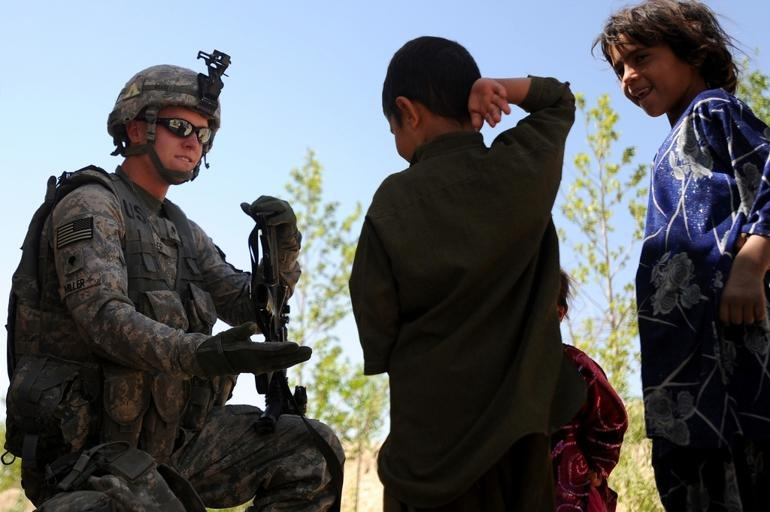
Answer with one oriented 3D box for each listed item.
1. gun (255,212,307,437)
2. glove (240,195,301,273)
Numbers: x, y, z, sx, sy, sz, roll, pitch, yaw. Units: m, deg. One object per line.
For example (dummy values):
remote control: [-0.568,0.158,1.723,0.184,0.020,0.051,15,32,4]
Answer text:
gun: [-0.701,0.463,7.081,0.233,1.481,0.544,9,-27,-30]
glove: [-0.734,-0.139,7.101,0.194,0.477,0.351,3,24,37]
